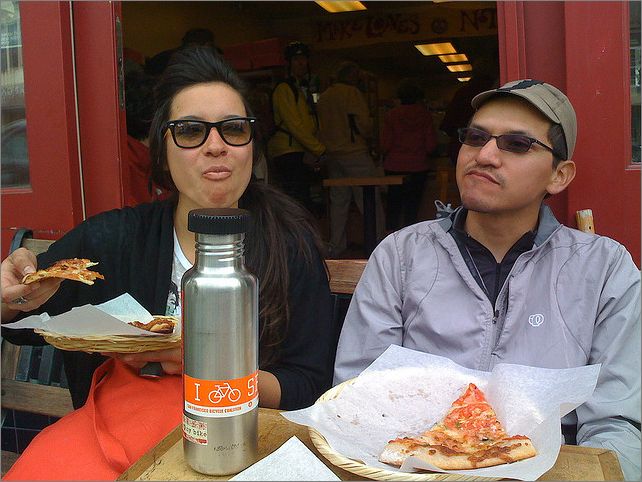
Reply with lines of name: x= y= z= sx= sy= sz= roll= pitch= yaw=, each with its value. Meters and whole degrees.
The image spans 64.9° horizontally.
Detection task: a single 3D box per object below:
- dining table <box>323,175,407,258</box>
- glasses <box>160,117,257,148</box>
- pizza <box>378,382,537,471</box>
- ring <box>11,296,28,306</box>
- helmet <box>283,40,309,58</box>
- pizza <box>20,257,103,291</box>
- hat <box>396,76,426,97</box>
dining table: x=0.501 y=-0.339 z=5.753 sx=1.030 sy=0.932 sz=1.018 roll=3 pitch=9 yaw=29
glasses: x=-0.444 y=-0.416 z=1.948 sx=0.362 sy=0.113 sz=0.110 roll=-3 pitch=8 yaw=1
pizza: x=0.369 y=0.478 z=1.225 sx=0.370 sy=0.051 sz=0.265 roll=-18 pitch=18 yaw=-39
ring: x=-1.011 y=0.203 z=1.696 sx=0.038 sy=0.029 sz=0.039 roll=-18 pitch=-9 yaw=-3
helmet: x=-0.316 y=-2.510 z=6.526 sx=0.256 sy=0.258 sz=0.273 roll=-1 pitch=30 yaw=-4
pizza: x=-0.831 y=0.104 z=1.671 sx=0.152 sy=0.053 sz=0.156 roll=1 pitch=-9 yaw=24
hat: x=1.210 y=-2.107 z=6.896 sx=0.463 sy=0.377 sz=0.346 roll=0 pitch=23 yaw=10
